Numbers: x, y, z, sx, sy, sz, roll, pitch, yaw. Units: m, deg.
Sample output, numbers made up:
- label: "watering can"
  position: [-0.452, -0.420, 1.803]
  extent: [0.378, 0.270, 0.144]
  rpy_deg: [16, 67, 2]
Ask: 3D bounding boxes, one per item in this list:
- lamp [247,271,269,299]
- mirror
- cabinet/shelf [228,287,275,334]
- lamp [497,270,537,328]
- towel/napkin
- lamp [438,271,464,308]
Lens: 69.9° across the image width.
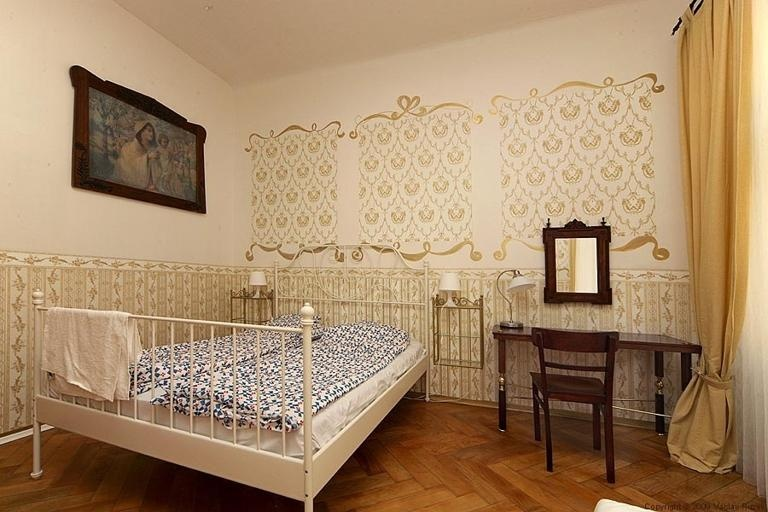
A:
- label: "lamp"
  position: [-1.545, 0.336, 6.746]
  extent: [0.293, 0.447, 0.314]
  rpy_deg: [-1, 4, -11]
- label: "mirror"
  position: [2.040, 0.066, 5.719]
  extent: [0.883, 1.234, 0.090]
  rpy_deg: [0, -2, 13]
- label: "cabinet/shelf"
  position: [-1.661, 0.637, 6.992]
  extent: [0.624, 0.838, 0.442]
  rpy_deg: [0, -4, 13]
- label: "lamp"
  position: [1.384, 0.448, 5.760]
  extent: [0.408, 0.604, 0.373]
  rpy_deg: [-1, 0, 12]
- label: "towel/napkin"
  position: [-2.494, 0.854, 4.644]
  extent: [0.790, 0.681, 0.221]
  rpy_deg: [3, 4, 20]
- label: "lamp"
  position: [0.710, 0.376, 6.001]
  extent: [0.335, 0.518, 0.330]
  rpy_deg: [1, -11, -3]
